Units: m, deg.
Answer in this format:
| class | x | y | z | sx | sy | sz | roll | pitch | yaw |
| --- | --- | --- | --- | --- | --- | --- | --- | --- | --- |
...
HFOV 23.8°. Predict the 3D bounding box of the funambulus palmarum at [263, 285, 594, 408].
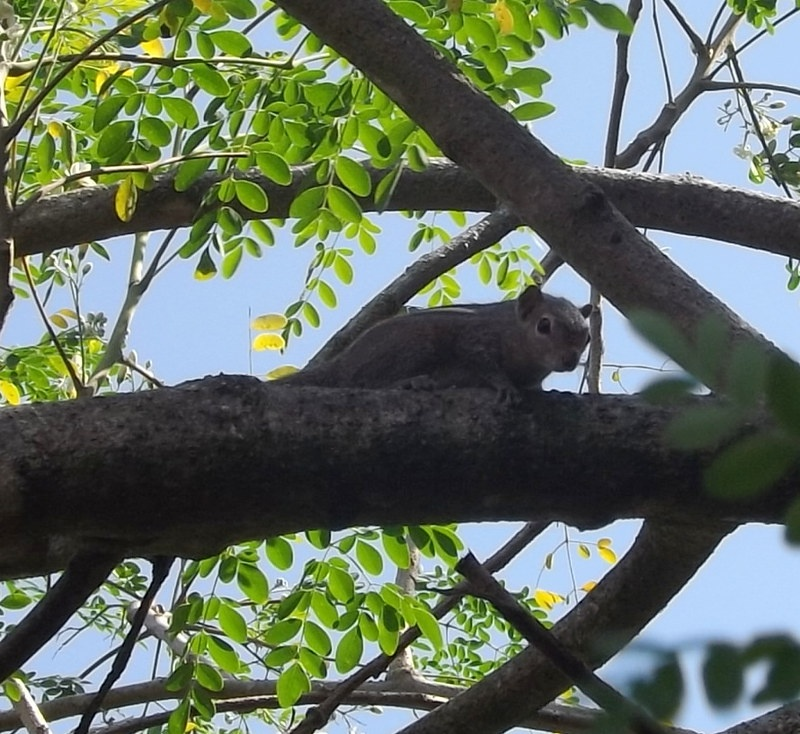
| class | x | y | z | sx | sy | sz | roll | pitch | yaw |
| --- | --- | --- | --- | --- | --- | --- | --- | --- | --- |
| funambulus palmarum | 0.220 | -0.075 | 8.586 | 0.492 | 1.520 | 0.503 | 19 | -101 | -45 |
